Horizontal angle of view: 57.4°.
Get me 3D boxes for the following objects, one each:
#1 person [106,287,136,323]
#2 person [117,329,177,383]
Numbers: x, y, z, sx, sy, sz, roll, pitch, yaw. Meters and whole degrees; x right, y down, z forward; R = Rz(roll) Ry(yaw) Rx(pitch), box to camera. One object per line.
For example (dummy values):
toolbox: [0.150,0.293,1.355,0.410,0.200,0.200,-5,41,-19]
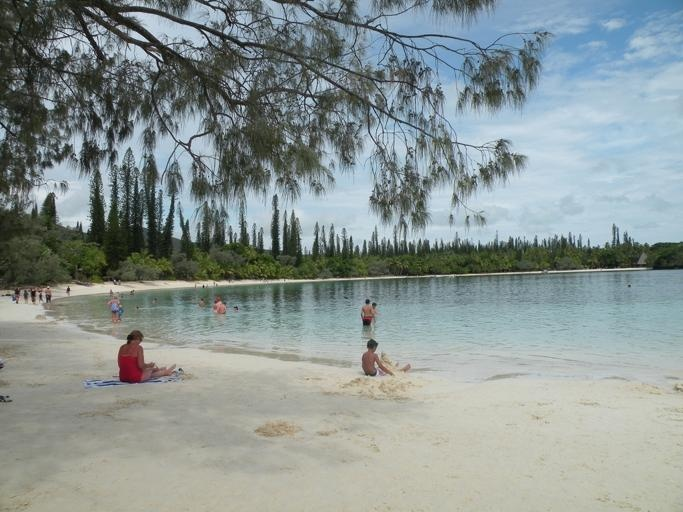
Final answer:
person: [-15.416,3.430,43.837,0.877,1.078,2.483,9,-37,-12]
person: [-4.672,2.404,14.980,0.599,1.256,1.427,-5,-6,21]
